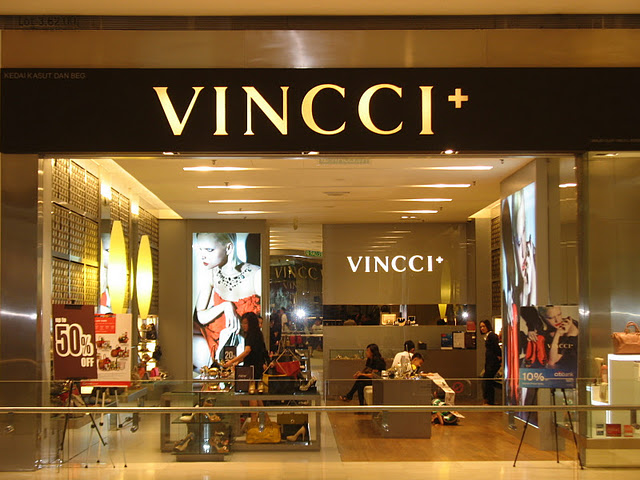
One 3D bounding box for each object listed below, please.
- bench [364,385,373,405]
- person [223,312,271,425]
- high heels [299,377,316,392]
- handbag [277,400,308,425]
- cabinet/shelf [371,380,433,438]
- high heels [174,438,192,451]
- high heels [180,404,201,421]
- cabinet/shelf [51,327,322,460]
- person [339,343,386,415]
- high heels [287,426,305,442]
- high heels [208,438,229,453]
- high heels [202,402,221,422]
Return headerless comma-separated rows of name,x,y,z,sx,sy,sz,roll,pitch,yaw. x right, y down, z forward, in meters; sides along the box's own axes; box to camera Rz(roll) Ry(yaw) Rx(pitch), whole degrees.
bench,0.337,1.067,4.098,0.076,0.112,0.156,1,-1,1
person,-0.764,1.310,6.407,0.440,1.204,0.395,-1,-33,2
high heels,-0.068,1.001,4.126,0.046,0.059,0.145,3,-2,8
handbag,-0.177,1.184,4.045,0.208,0.213,0.151,0,-22,3
cabinet/shelf,0.480,1.128,4.136,0.346,0.326,0.569,1,5,0
high heels,-0.901,1.345,3.927,0.099,0.081,0.044,2,-10,-13
high heels,-0.882,1.177,4.069,0.125,0.133,0.083,5,-9,-11
cabinet/shelf,-0.774,1.212,4.106,1.553,0.495,0.420,0,-10,-3
person,0.601,1.731,7.694,0.506,0.838,0.275,3,2,-29
high heels,-0.148,1.290,3.977,0.153,0.121,0.063,-10,-6,21
high heels,-0.677,1.364,4.009,0.142,0.130,0.072,3,-10,-14
high heels,-0.735,1.178,4.031,0.084,0.155,0.147,3,20,-6
